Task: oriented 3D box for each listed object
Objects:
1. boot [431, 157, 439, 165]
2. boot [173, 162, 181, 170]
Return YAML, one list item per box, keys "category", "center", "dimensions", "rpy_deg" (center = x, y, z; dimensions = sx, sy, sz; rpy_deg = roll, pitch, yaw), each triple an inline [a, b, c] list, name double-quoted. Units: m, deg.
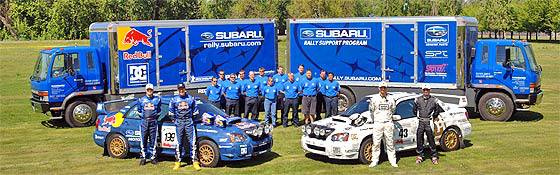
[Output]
- category: "boot"
  center: [21.852, 10.303, 71.344]
  dimensions: [0.840, 0.907, 0.380]
  rpy_deg: [-1, 12, 8]
- category: "boot"
  center: [-14.389, 10.971, 70.898]
  dimensions: [0.887, 0.945, 0.400]
  rpy_deg: [10, -5, 12]
